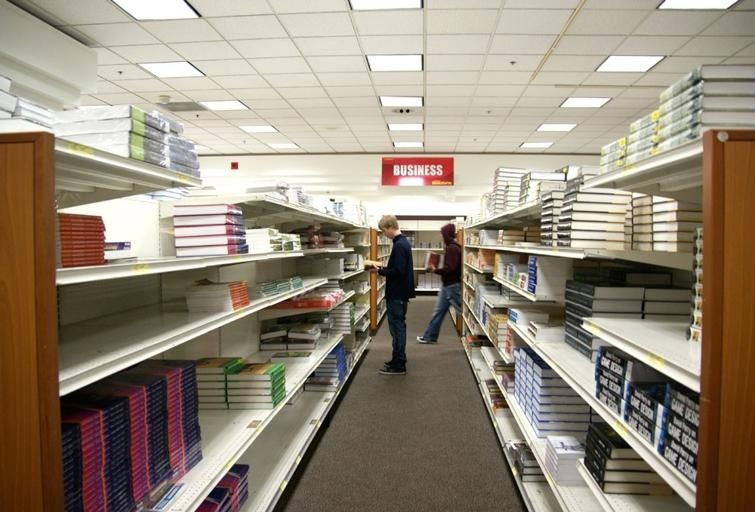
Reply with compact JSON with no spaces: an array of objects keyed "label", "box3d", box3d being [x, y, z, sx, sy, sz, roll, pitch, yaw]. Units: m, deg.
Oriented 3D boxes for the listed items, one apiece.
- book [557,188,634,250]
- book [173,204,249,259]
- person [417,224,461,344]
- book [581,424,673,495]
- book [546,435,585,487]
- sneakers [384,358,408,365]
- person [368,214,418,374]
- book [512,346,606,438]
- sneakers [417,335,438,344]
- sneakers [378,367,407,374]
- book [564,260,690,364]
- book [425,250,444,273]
[{"label":"book","box3d":[1.302,-0.229,2.988,0.527,0.324,0.481,0,6,7]},{"label":"book","box3d":[-0.985,-0.141,2.837,0.375,0.192,0.343,0,2,-3]},{"label":"person","box3d":[1.062,0.440,7.931,0.635,1.907,0.943,4,12,20]},{"label":"book","box3d":[1.321,1.057,2.649,0.355,0.288,0.297,2,-3,-6]},{"label":"book","box3d":[1.141,1.255,3.063,0.231,0.136,0.316,-1,-1,4]},{"label":"sneakers","box3d":[0.241,1.314,6.165,0.342,0.114,0.107,2,-5,3]},{"label":"person","box3d":[0.211,0.479,6.206,0.484,1.954,0.714,0,11,0]},{"label":"book","box3d":[1.283,0.986,3.568,0.478,0.467,0.827,0,-1,-3]},{"label":"sneakers","box3d":[0.788,1.321,7.814,0.312,0.122,0.112,7,-1,8]},{"label":"sneakers","box3d":[0.189,1.408,6.112,0.319,0.106,0.108,3,-6,-2]},{"label":"book","box3d":[1.537,0.226,3.148,0.625,0.605,1.057,0,3,0]},{"label":"book","box3d":[0.913,0.096,8.206,0.429,0.375,0.111,4,-4,-40]}]
